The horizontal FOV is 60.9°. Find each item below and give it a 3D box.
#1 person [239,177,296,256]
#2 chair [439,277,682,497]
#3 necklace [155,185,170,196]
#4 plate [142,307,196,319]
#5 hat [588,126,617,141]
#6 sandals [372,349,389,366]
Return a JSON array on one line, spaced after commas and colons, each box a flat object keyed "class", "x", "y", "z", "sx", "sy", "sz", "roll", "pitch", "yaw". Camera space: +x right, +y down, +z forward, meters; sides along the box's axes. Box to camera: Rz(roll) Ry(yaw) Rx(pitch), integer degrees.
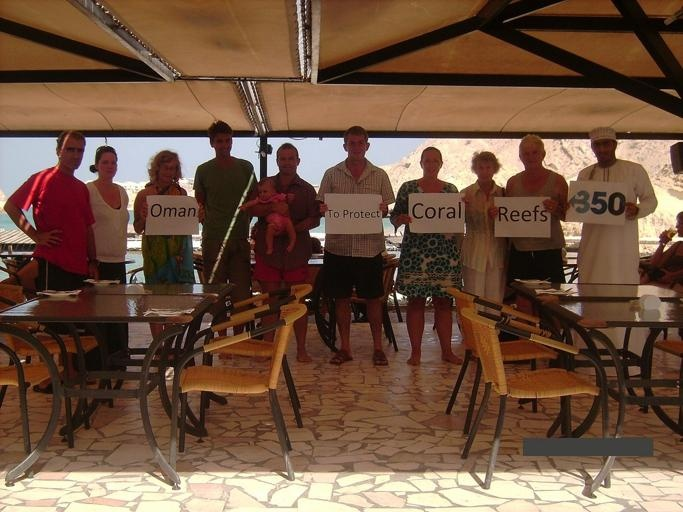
[{"class": "person", "x": -0.707, "y": -0.377, "z": 5.590, "sx": 0.771, "sy": 0.734, "sz": 0.237, "roll": -11, "pitch": -11, "yaw": -1}, {"class": "chair", "x": 1.627, "y": 0.843, "z": 3.968, "sx": 1.614, "sy": 0.681, "sz": 1.346, "roll": -2, "pitch": 7, "yaw": -3}, {"class": "necklace", "x": -1.592, "y": -0.574, "z": 5.171, "sx": 0.097, "sy": 0.079, "sz": 0.087, "roll": 4, "pitch": -9, "yaw": -11}, {"class": "plate", "x": -1.079, "y": 0.355, "z": 3.619, "sx": 0.292, "sy": 0.007, "sz": 0.241, "roll": -1, "pitch": 9, "yaw": -6}, {"class": "hat", "x": 2.399, "y": -1.108, "z": 5.314, "sx": 0.235, "sy": 0.131, "sz": 0.151, "roll": 0, "pitch": 10, "yaw": -4}, {"class": "sandals", "x": 0.380, "y": 1.022, "z": 5.797, "sx": 0.154, "sy": 0.100, "sz": 0.336, "roll": -1, "pitch": -5, "yaw": 2}]
